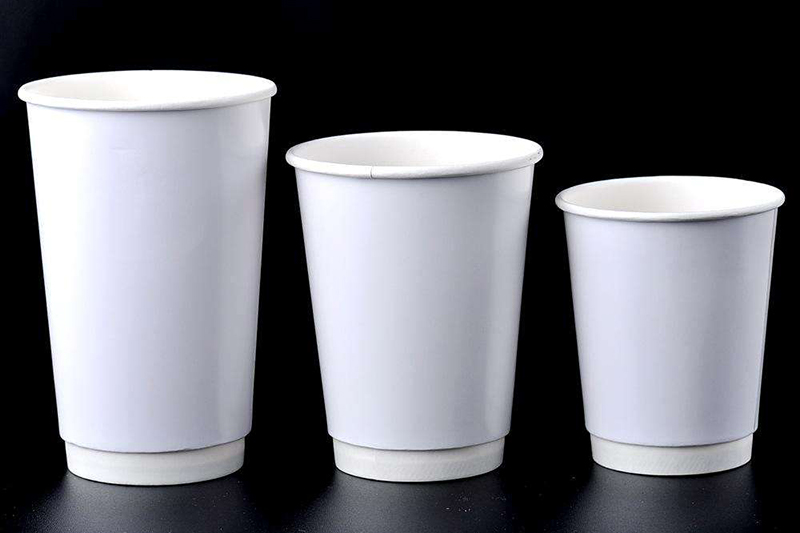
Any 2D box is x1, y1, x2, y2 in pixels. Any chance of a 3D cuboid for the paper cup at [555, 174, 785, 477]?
[{"bbox_3d":[0.625,0.132,1.827,0.497,0.625,0.394,-1,19,5],"label":"paper cup"}]
